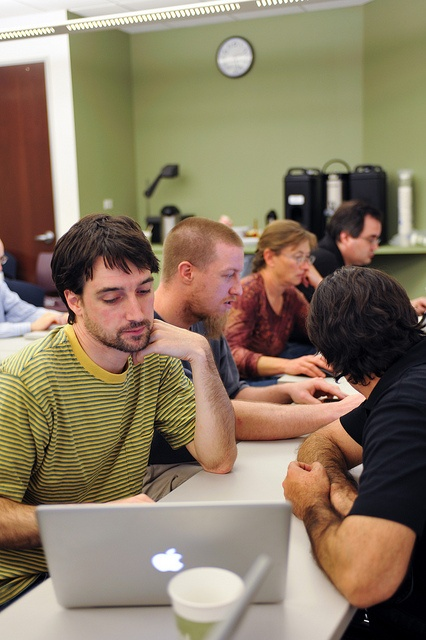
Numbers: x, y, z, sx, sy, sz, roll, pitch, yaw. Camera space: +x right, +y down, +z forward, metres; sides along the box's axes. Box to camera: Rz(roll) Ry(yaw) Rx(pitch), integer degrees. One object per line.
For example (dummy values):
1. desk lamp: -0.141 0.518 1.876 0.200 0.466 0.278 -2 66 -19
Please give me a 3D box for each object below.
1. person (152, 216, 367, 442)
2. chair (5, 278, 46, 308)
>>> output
1. person: 0.110 0.064 1.713 0.760 0.706 0.368 5 7 21
2. chair: -1.573 -0.259 4.520 0.255 0.307 0.262 7 11 7
